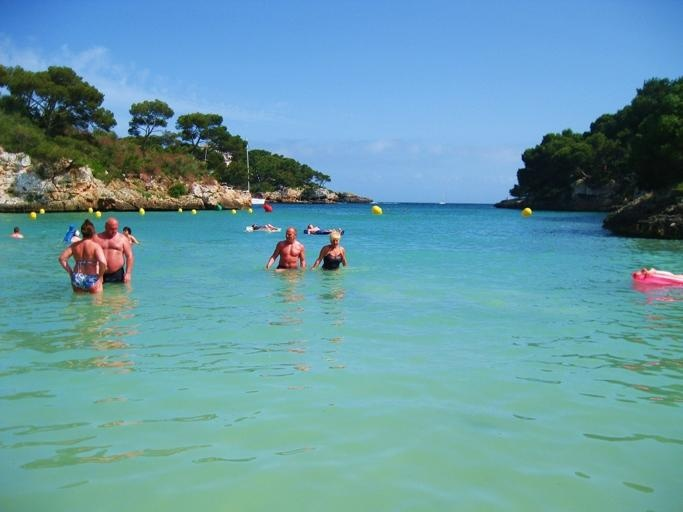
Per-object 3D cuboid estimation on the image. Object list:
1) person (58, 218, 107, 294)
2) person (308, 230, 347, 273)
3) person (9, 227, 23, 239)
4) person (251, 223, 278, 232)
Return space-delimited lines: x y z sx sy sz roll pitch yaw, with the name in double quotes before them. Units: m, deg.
"person" -5.595 0.005 12.817 0.882 1.597 0.847 -4 13 -22
"person" -0.277 -0.159 15.933 0.777 1.180 1.313 1 12 1
"person" -15.042 -1.061 27.380 0.750 0.485 0.349 1 18 -12
"person" -4.264 -1.535 32.799 1.177 0.265 0.680 4 6 32
